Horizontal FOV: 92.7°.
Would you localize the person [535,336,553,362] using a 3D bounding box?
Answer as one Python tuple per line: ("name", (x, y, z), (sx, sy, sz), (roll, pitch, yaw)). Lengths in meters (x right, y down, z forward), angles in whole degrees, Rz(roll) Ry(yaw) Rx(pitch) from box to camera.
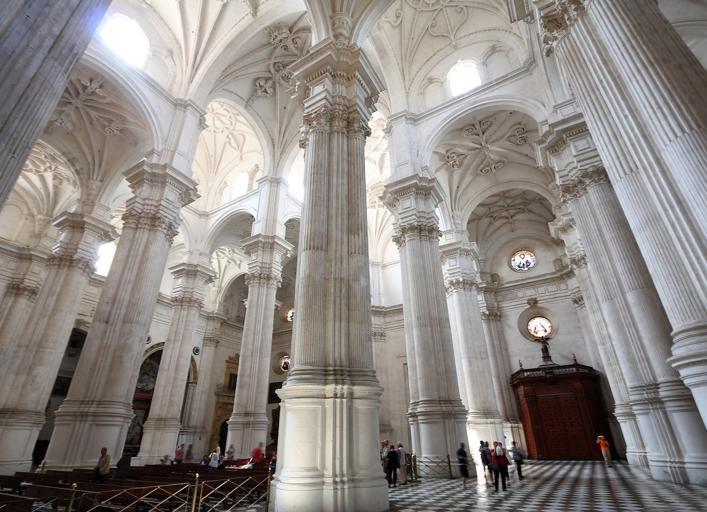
("person", (9.187, 4.445, 16.023), (0.647, 1.444, 1.056), (-18, -33, 26))
